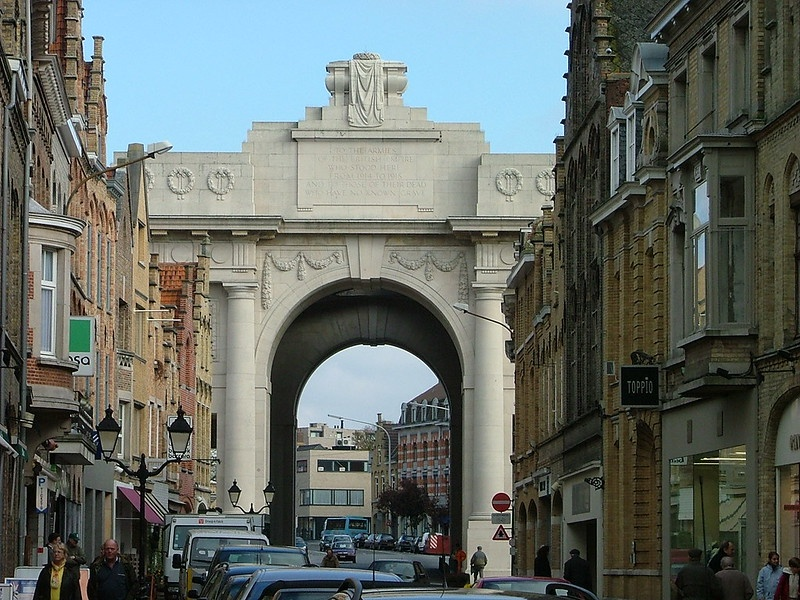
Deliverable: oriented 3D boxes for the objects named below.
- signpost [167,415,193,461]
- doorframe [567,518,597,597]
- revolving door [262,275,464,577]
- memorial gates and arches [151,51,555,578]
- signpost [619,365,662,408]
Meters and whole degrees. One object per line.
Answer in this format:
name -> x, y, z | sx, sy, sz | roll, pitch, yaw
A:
signpost -> -5.492, 3.353, 57.484 | 0.734, 1.131, 0.714 | 6, 4, 26
doorframe -> 5.697, 7.551, 68.199 | 0.580, 2.400, 1.114 | -7, -6, 9
revolving door -> -1.256, 7.442, 114.590 | 10.799, 15.429, 1.518 | -1, -22, 1
memorial gates and arches -> -1.374, 0.685, 105.845 | 17.665, 23.923, 14.439 | 2, 1, 8
signpost -> 6.024, 2.104, 56.824 | 0.974, 0.996, 0.197 | 1, 1, -4
